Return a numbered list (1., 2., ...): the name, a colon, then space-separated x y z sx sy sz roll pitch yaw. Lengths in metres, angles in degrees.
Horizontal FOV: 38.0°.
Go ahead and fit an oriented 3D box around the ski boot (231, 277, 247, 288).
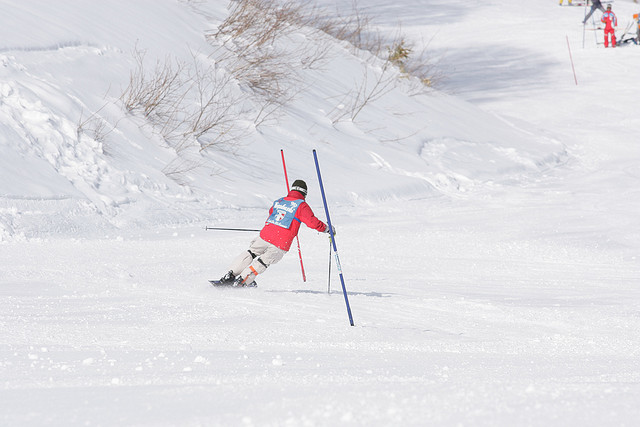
1. ski boot: -1.608 1.379 18.591 0.237 0.204 0.088 10 8 -6
